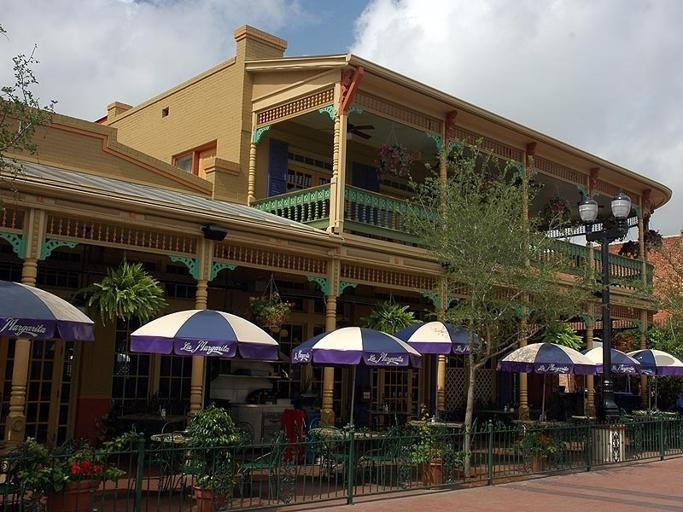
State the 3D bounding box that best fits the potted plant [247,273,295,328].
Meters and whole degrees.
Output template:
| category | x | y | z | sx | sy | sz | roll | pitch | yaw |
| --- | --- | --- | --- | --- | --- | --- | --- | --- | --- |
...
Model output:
| category | x | y | z | sx | sy | sz | roll | pitch | yaw |
| --- | --- | --- | --- | --- | --- | --- | --- | --- | --- |
| potted plant | -1.628 | 1.088 | 18.130 | 1.278 | 1.796 | 1.325 | 2 | 0 | -1 |
